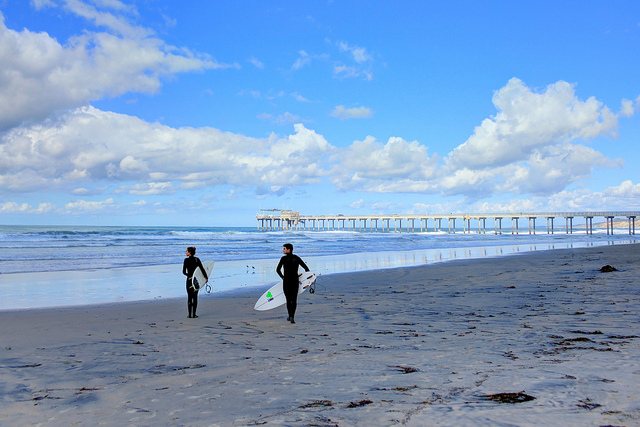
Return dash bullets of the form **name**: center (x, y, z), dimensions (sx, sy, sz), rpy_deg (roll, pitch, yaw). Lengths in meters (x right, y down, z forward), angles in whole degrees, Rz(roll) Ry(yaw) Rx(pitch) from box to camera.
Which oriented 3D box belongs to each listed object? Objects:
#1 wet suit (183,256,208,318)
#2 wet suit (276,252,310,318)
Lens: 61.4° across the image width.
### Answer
- **wet suit**: center (-3.292, 1.881, 14.126), dimensions (0.557, 1.516, 0.932), rpy_deg (-3, 8, -1)
- **wet suit**: center (-0.674, 1.773, 13.607), dimensions (0.738, 1.710, 1.240), rpy_deg (-4, 8, -3)
